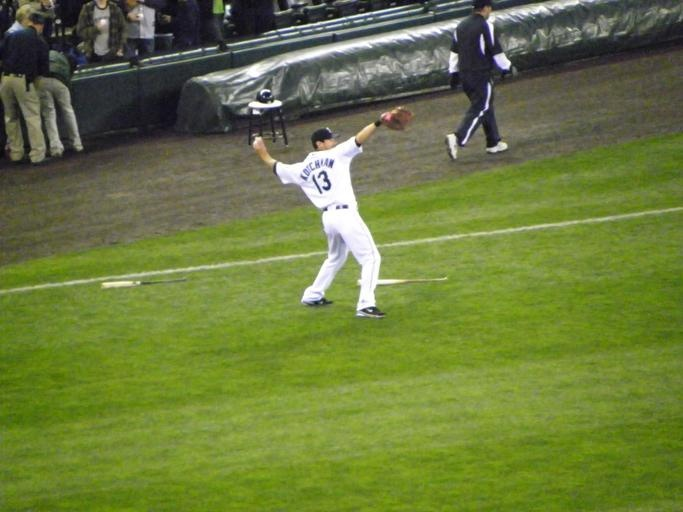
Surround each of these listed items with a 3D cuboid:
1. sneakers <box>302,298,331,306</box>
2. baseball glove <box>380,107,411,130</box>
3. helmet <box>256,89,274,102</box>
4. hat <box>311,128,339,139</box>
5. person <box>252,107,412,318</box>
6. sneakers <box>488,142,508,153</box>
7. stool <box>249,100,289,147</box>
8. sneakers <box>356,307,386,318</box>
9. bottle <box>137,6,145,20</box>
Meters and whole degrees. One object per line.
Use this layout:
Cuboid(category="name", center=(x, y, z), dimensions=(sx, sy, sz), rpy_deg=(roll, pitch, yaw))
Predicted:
Cuboid(category="sneakers", center=(-0.337, 0.596, 19.183), dimensions=(0.406, 0.140, 0.124), rpy_deg=(-3, 11, -6))
Cuboid(category="baseball glove", center=(0.688, -1.814, 18.673), dimensions=(0.289, 0.130, 0.360), rpy_deg=(-35, -27, 28))
Cuboid(category="helmet", center=(-1.296, -2.646, 23.817), dimensions=(0.266, 0.285, 0.296), rpy_deg=(-1, 11, -16))
Cuboid(category="hat", center=(-0.228, -1.551, 18.647), dimensions=(0.306, 0.125, 0.196), rpy_deg=(-7, 14, -3))
Cuboid(category="person", center=(-0.034, -0.510, 18.834), dimensions=(1.688, 2.642, 0.724), rpy_deg=(-4, 12, 22))
Cuboid(category="sneakers", center=(2.436, -1.738, 22.924), dimensions=(0.347, 0.129, 0.132), rpy_deg=(-13, -27, -4))
Cuboid(category="stool", center=(-1.287, -2.274, 24.652), dimensions=(0.570, 0.588, 0.538), rpy_deg=(-5, 10, -28))
Cuboid(category="sneakers", center=(0.353, 0.732, 18.724), dimensions=(0.373, 0.142, 0.134), rpy_deg=(0, 7, 6))
Cuboid(category="bottle", center=(-3.694, -4.468, 26.401), dimensions=(0.089, 0.231, 0.165), rpy_deg=(-7, 10, 9))
